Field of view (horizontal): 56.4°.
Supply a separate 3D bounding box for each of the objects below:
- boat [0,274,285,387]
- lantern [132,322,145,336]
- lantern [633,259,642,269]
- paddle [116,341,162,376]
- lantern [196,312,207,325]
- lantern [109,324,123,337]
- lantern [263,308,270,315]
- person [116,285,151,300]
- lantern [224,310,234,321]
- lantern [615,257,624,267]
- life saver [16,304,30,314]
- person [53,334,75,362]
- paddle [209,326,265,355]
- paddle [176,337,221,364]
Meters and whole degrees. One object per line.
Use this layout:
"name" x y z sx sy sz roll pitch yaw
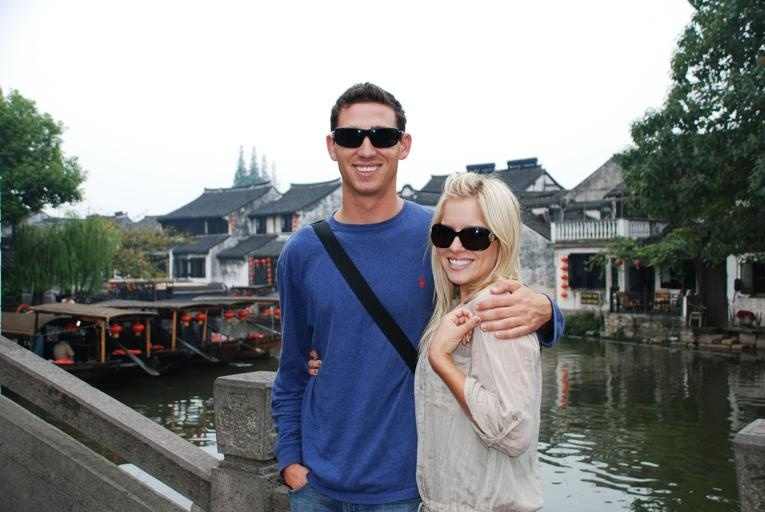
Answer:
"boat" -6.743 2.230 20.058 3.556 2.339 6.627 2 6 36
"lantern" -6.681 1.984 19.385 0.377 0.461 0.381 1 1 -8
"lantern" 8.509 0.244 23.709 0.215 0.279 0.220 -5 24 -9
"paddle" -6.354 2.736 18.606 0.495 0.150 3.098 -31 24 -23
"lantern" -5.240 1.826 20.826 0.248 0.290 0.283 4 8 14
"lantern" -6.923 1.978 18.686 0.347 0.364 0.339 -3 6 -39
"lantern" -4.460 2.135 27.574 0.264 0.265 0.287 -2 23 -26
"person" -10.043 1.529 29.299 0.976 0.278 0.948 2 6 -3
"lantern" -4.737 1.806 21.856 0.267 0.261 0.277 -2 -12 21
"lantern" 7.933 0.204 23.832 0.306 0.313 0.306 -1 0 -17
"life saver" -11.002 1.628 21.840 0.369 0.119 0.379 5 10 18
"person" -8.014 2.446 17.975 0.471 0.522 2.198 -3 5 -23
"paddle" -4.465 2.617 22.044 0.902 0.544 1.456 4 1 -23
"paddle" -5.345 2.746 20.647 1.294 0.108 0.293 34 15 -35
